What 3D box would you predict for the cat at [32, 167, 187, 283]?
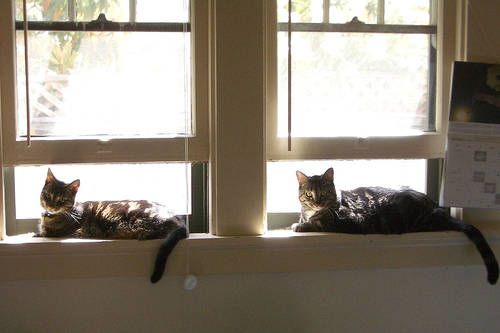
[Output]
[{"bbox_3d":[-0.710,0.280,2.696,0.714,0.368,0.526,0,17,-3],"label":"cat"}]
